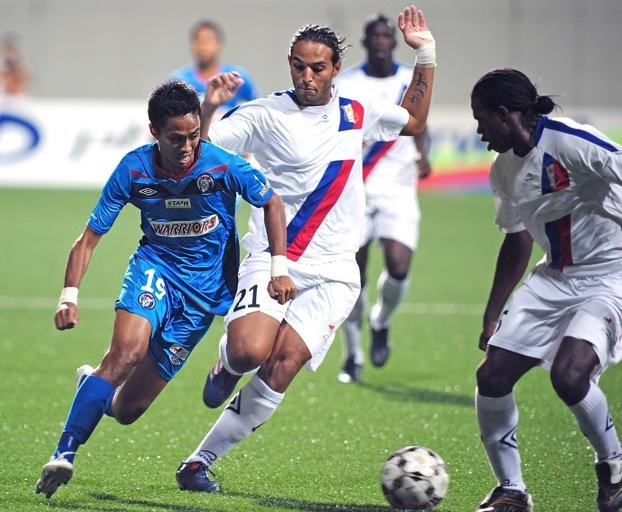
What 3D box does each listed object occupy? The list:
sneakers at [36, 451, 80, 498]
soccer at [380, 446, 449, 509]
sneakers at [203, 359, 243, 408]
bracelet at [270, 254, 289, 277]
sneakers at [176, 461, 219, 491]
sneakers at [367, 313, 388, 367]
[{"bbox_3d":[-1.295,1.085,4.756,0.145,0.262,0.088,37,12,-16],"label":"sneakers"},{"bbox_3d":[0.533,1.204,4.872,0.307,0.303,0.315,-2,59,-3],"label":"soccer"},{"bbox_3d":[-0.552,0.790,5.649,0.133,0.435,0.176,35,63,4],"label":"sneakers"},{"bbox_3d":[-0.170,0.064,5.074,0.099,0.117,0.102,-1,1,18],"label":"bracelet"},{"bbox_3d":[-0.582,1.202,5.099,0.299,0.147,0.108,3,4,27],"label":"sneakers"},{"bbox_3d":[0.536,0.716,7.362,0.107,0.137,0.339,-1,36,3],"label":"sneakers"}]
